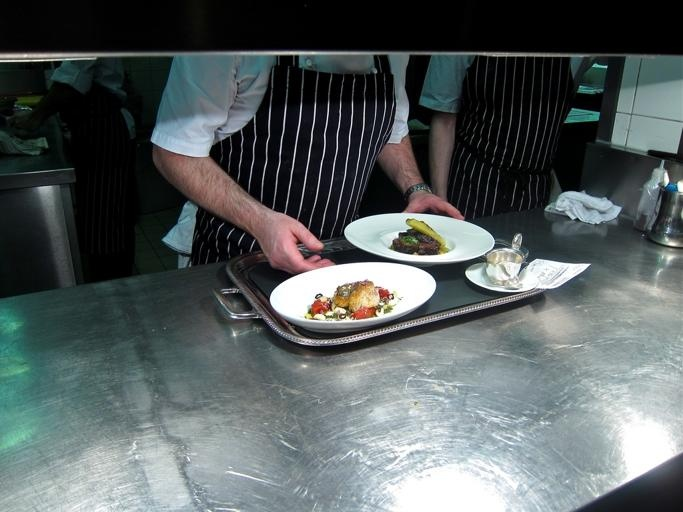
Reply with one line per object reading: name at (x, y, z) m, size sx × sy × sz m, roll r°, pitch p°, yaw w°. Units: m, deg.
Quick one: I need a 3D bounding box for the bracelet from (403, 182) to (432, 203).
bracelet at (0.276, -0.227, 1.622) m, size 0.088 × 0.084 × 0.049 m, roll 1°, pitch 60°, yaw -38°

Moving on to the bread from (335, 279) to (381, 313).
bread at (0.041, 0.077, 0.952) m, size 0.065 × 0.031 × 0.080 m, roll -8°, pitch 14°, yaw -32°

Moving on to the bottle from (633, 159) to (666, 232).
bottle at (0.970, -0.168, 1.430) m, size 0.053 × 0.195 × 0.133 m, roll 11°, pitch 27°, yaw 18°

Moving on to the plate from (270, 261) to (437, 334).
plate at (0.027, 0.083, 0.996) m, size 0.367 × 0.045 × 0.246 m, roll -7°, pitch 24°, yaw -21°

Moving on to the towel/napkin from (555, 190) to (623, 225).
towel/napkin at (0.850, -0.191, 1.572) m, size 0.156 × 0.050 × 0.147 m, roll -13°, pitch 23°, yaw -28°

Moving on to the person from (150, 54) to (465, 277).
person at (-0.064, -0.266, 1.390) m, size 0.830 × 0.655 × 0.612 m, roll -14°, pitch 29°, yaw -32°

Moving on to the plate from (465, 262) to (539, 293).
plate at (0.364, 0.061, 1.081) m, size 0.097 × 0.012 × 0.099 m, roll 18°, pitch 26°, yaw 41°

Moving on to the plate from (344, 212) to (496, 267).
plate at (0.211, -0.053, 1.270) m, size 0.398 × 0.048 × 0.342 m, roll 11°, pitch 24°, yaw 21°
